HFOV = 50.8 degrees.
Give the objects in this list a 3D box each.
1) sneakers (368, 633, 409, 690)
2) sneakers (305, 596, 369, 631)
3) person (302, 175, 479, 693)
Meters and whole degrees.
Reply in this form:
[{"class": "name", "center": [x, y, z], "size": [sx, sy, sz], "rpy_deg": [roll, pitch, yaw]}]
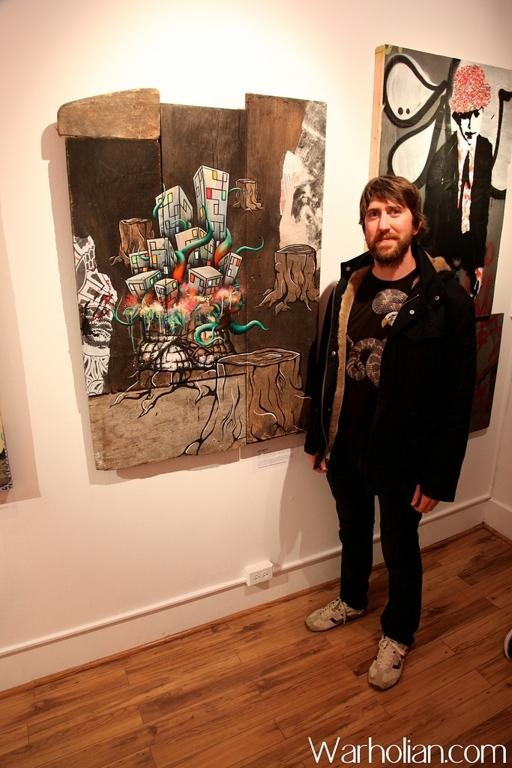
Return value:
[{"class": "sneakers", "center": [0.448, 0.955, 1.873], "size": [0.072, 0.077, 0.190], "rpy_deg": [3, 12, 20]}, {"class": "sneakers", "center": [0.316, 0.887, 2.136], "size": [0.232, 0.102, 0.093], "rpy_deg": [-11, 42, -18]}, {"class": "person", "center": [0.389, 0.160, 1.839], "size": [0.436, 1.628, 0.603], "rpy_deg": [-11, 21, -24]}]
